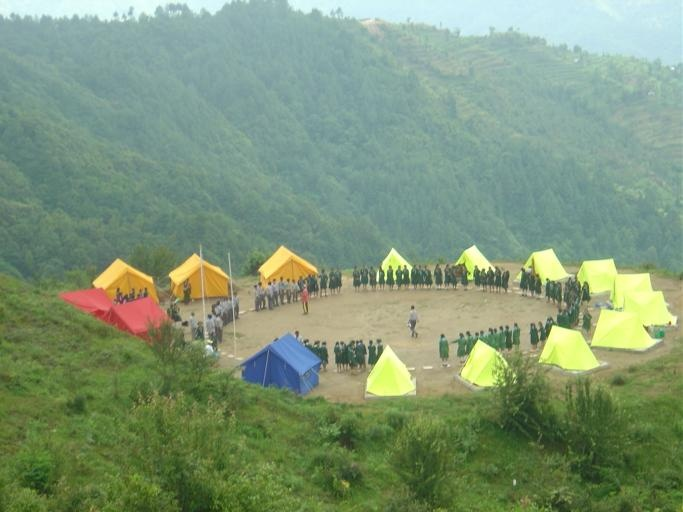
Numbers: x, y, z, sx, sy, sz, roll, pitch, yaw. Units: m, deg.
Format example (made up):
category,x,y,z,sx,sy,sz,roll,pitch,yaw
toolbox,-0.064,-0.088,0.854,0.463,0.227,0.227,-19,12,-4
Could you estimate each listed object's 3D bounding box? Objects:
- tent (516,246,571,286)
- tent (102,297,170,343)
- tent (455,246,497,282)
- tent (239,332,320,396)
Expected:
category,x,y,z,sx,sy,sz,roll,pitch,yaw
tent,19.148,0.801,78.895,2.905,2.389,3.927,-13,20,-29
tent,-16.370,4.659,66.897,3.410,1.771,3.507,28,35,29
tent,12.982,0.602,79.927,2.799,1.768,3.024,-1,4,-29
tent,-4.393,8.662,66.243,4.129,3.615,4.608,2,7,18
